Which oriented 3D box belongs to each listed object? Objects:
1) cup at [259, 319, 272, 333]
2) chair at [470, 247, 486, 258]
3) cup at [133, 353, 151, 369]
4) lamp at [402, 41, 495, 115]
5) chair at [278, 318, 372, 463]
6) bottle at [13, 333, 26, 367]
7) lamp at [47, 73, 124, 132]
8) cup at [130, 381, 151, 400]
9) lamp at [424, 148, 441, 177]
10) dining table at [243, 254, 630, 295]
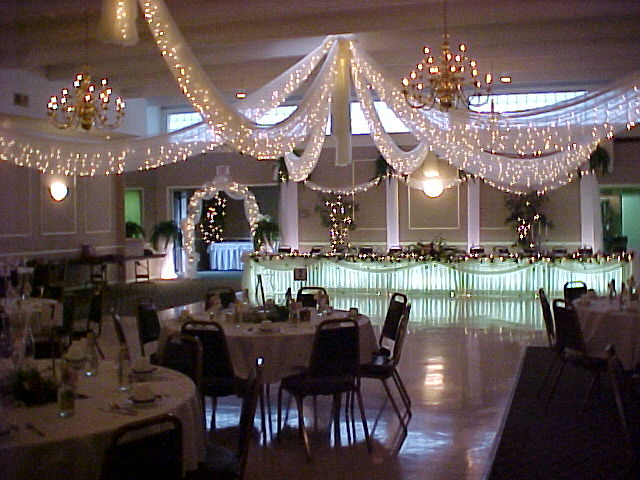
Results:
[{"bbox_3d":[-0.471,0.763,5.332,0.092,0.045,0.089,-1,8,0],"label":"cup"},{"bbox_3d":[3.289,0.251,12.666,0.272,0.328,0.266,-2,9,10],"label":"chair"},{"bbox_3d":[-1.232,0.851,4.230,0.085,0.079,0.097,1,0,2],"label":"cup"},{"bbox_3d":[1.682,-2.229,8.148,1.004,1.094,1.108,0,0,-2],"label":"lamp"},{"bbox_3d":[0.019,1.173,5.236,0.791,1.070,0.918,-1,5,-7],"label":"chair"},{"bbox_3d":[-1.857,0.680,3.745,0.047,0.212,0.050,-8,-37,-6],"label":"bottle"},{"bbox_3d":[-3.730,-2.265,9.694,1.088,1.138,1.204,-3,1,-23],"label":"lamp"},{"bbox_3d":[-1.114,0.946,3.769,0.121,0.078,0.114,4,-3,0],"label":"cup"},{"bbox_3d":[2.872,-1.893,15.306,0.446,0.859,0.481,-2,7,6],"label":"lamp"},{"bbox_3d":[2.496,0.661,11.496,4.536,0.837,0.665,-1,1,9],"label":"dining table"}]
